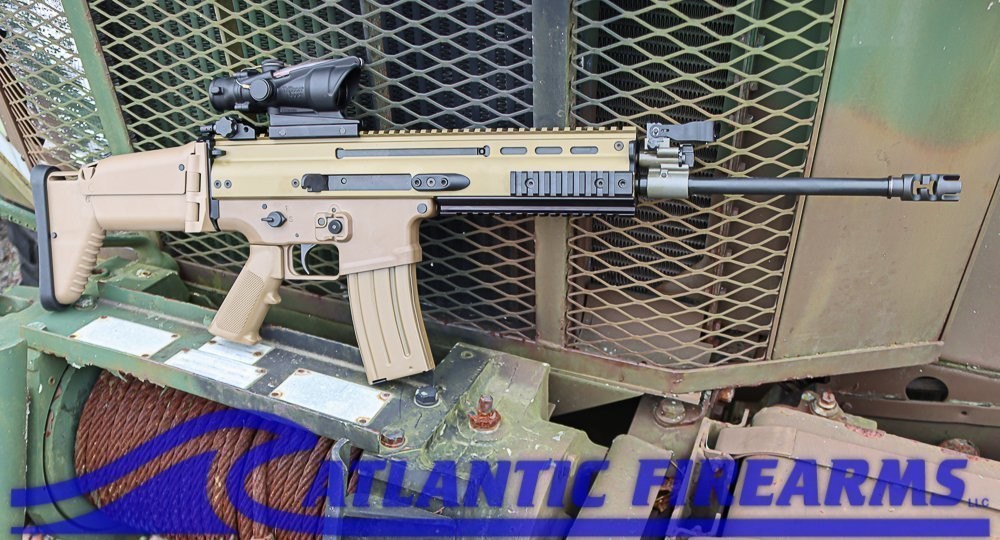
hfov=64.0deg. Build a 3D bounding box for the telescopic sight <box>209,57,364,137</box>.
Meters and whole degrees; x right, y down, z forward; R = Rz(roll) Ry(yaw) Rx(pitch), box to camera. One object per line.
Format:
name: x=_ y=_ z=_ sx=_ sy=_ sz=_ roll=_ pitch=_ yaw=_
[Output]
telescopic sight: x=-1.286 y=-1.015 z=4.866 sx=1.082 sy=0.441 sz=0.329 roll=4 pitch=15 yaw=24
